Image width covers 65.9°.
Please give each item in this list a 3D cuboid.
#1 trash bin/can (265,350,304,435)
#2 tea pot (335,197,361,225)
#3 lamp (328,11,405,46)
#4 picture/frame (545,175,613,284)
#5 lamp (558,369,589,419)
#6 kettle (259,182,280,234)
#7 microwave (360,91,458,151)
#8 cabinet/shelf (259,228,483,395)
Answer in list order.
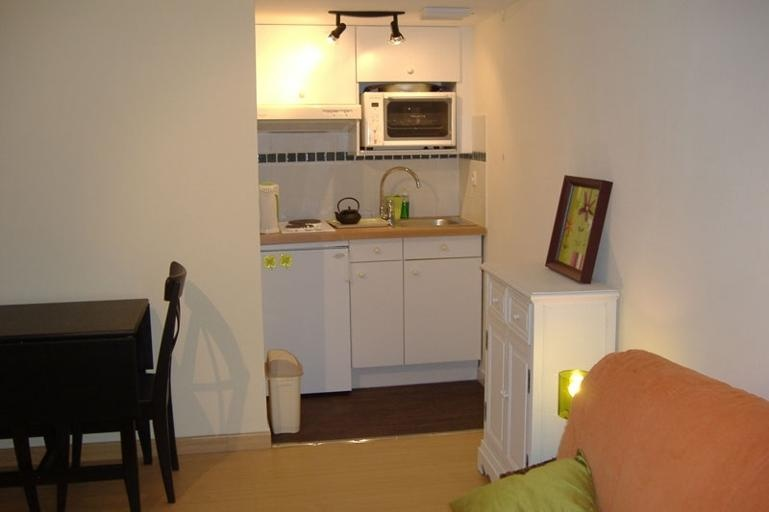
[{"bbox_3d":[-0.712,0.957,4.208,0.246,0.518,0.308,-3,13,-11],"label":"trash bin/can"},{"bbox_3d":[-0.312,-0.368,4.941,0.250,0.246,0.202,1,5,-9],"label":"tea pot"},{"bbox_3d":[-0.140,-1.722,4.527,0.576,0.222,0.383,-1,14,-3],"label":"lamp"},{"bbox_3d":[1.100,-0.134,3.314,0.069,0.717,0.561,12,3,-12],"label":"picture/frame"},{"bbox_3d":[0.951,0.752,3.000,0.153,0.314,0.161,-1,12,14],"label":"lamp"},{"bbox_3d":[-0.883,-0.361,4.535,0.141,0.343,0.263,-3,13,-12],"label":"kettle"},{"bbox_3d":[0.209,-1.101,4.975,0.727,0.485,0.527,0,5,-2],"label":"microwave"},{"bbox_3d":[-0.153,0.390,4.623,1.145,0.855,0.426,-2,5,-11],"label":"cabinet/shelf"}]
